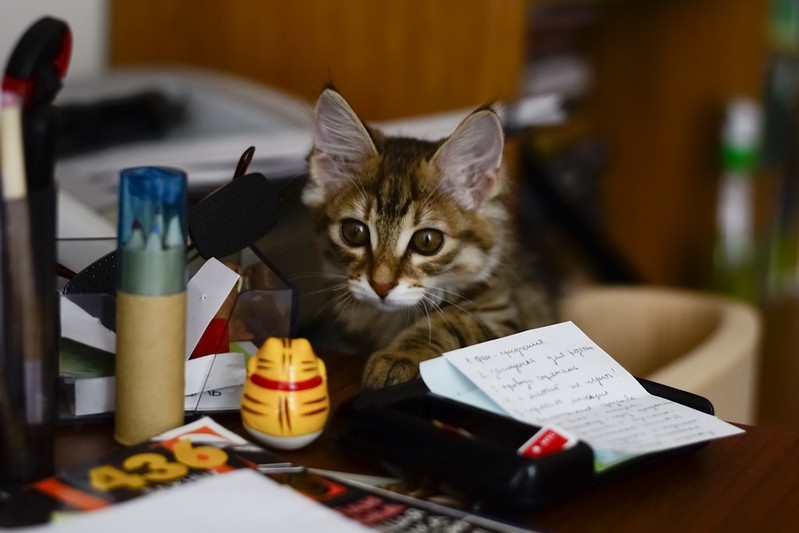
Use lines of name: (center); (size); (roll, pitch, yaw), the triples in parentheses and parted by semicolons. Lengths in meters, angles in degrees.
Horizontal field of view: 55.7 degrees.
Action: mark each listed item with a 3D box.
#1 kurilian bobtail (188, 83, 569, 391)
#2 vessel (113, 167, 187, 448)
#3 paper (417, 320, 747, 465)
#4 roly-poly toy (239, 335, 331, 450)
kurilian bobtail: (-0.002, -0.083, 1.511); (0.371, 0.460, 0.601); (4, 17, -3)
vessel: (-0.313, 0.049, 0.950); (0.090, 0.355, 0.124); (0, 6, -21)
paper: (0.245, 0.167, 1.029); (0.390, 0.076, 0.412); (2, 14, -20)
roly-poly toy: (-0.151, 0.150, 1.016); (0.098, 0.150, 0.172); (-1, 9, -20)
